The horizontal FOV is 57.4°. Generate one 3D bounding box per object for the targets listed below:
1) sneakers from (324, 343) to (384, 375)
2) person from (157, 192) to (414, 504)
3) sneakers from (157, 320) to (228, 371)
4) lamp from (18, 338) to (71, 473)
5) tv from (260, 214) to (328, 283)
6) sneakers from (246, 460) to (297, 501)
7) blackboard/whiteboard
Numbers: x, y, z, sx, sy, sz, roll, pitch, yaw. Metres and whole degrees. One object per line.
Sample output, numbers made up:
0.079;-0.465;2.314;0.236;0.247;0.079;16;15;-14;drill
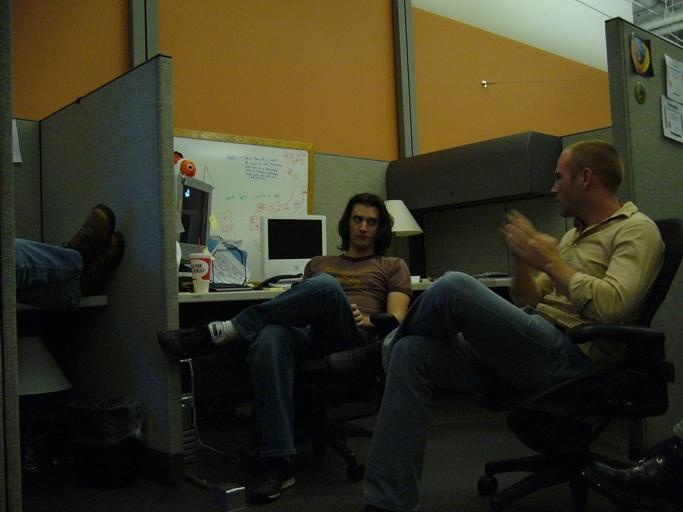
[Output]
0.055;0.327;1.980;0.213;0.074;0.061;-7;16;19;sneakers
-0.104;0.240;2.216;0.562;1.095;0.912;-7;-14;40;person
-0.468;0.277;2.015;0.275;0.100;0.123;-7;-15;-21;sneakers
-1.050;0.525;2.216;0.163;0.470;0.171;-2;2;-26;lamp
-0.233;-0.029;2.912;0.301;0.287;0.108;-1;-2;-27;tv
-0.221;0.728;2.038;0.070;0.086;0.207;-5;-12;22;sneakers
-0.479;-0.225;2.972;0.745;0.798;0.075;1;-2;-37;blackboard/whiteboard
